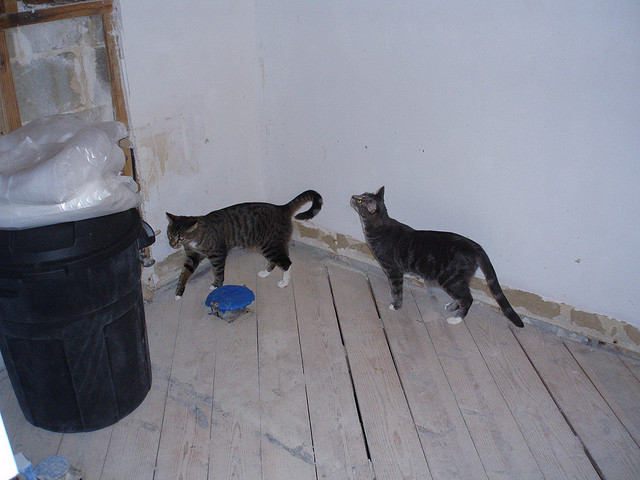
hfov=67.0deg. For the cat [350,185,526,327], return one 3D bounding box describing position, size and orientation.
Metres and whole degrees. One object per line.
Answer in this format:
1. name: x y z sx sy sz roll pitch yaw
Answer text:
1. cat: 0.851 0.106 3.290 0.965 0.638 0.241 24 58 28
